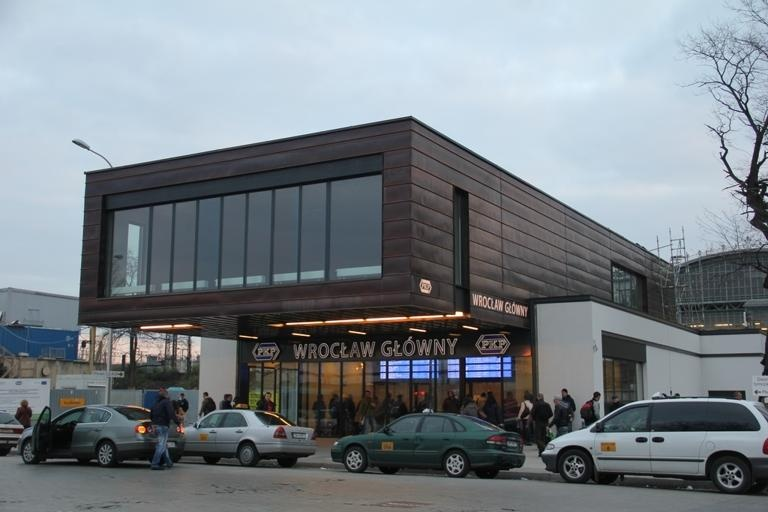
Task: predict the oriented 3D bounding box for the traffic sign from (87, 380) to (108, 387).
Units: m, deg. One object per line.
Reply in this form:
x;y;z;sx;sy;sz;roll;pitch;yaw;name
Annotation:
-19.180;8.585;54.000;0.588;0.528;1.480;-4;-14;18;traffic sign

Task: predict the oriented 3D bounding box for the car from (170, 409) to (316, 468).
-5.012;6.306;27.971;4.778;1.481;1.954;-4;-10;32;car

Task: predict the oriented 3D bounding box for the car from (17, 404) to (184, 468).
-9.217;5.890;26.379;5.194;1.955;1.460;0;-13;1;car
